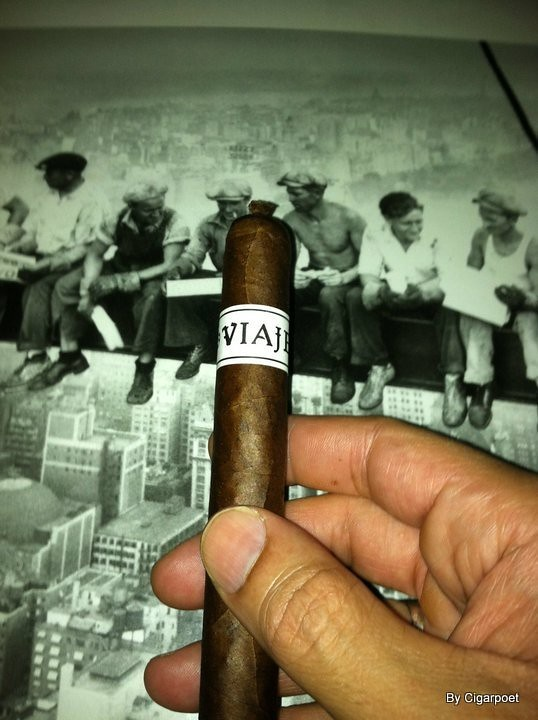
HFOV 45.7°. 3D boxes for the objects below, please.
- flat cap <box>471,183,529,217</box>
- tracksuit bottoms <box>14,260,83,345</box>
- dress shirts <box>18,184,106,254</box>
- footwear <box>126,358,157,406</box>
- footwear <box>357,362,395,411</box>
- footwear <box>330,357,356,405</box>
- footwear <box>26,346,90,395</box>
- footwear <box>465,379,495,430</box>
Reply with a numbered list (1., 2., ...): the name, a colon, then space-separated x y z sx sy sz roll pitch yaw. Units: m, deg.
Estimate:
1. flat cap: 0.660 -0.445 1.799 0.110 0.045 0.089 26 29 21
2. tracksuit bottoms: -0.609 -0.148 1.766 0.151 0.208 0.075 0 -10 20
3. dress shirts: -0.591 -0.395 1.829 0.146 0.145 0.083 33 9 11
4. footwear: -0.344 0.067 1.700 0.044 0.139 0.054 0 -14 5
5. footwear: 0.283 0.073 1.678 0.058 0.154 0.054 17 -16 31
6. footwear: 0.189 0.059 1.675 0.049 0.114 0.044 3 -15 11
7. footwear: -0.570 0.030 1.777 0.202 0.100 0.073 -29 -4 -1
8. footwear: 0.556 0.110 1.680 0.063 0.121 0.187 4 14 23
